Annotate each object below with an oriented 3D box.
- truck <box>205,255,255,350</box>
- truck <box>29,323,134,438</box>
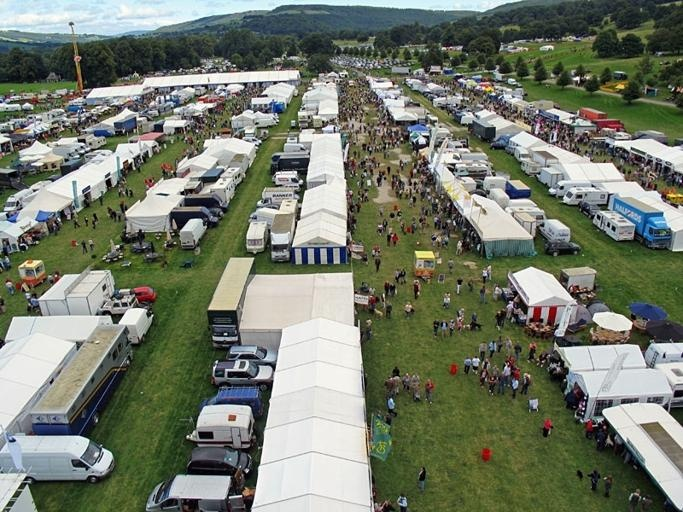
[{"bbox_3d":[-7.886,2.069,37.265,2.809,3.426,11.317,-1,31,3],"label":"truck"},{"bbox_3d":[-15.438,7.624,30.112,2.520,2.792,7.071,1,31,7],"label":"truck"}]
